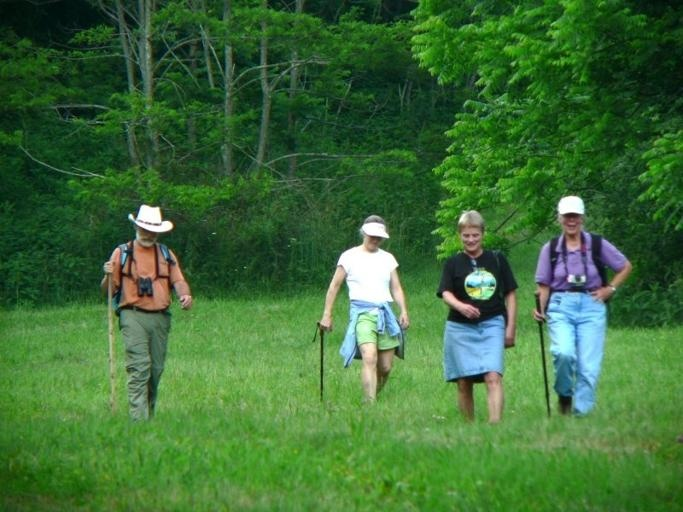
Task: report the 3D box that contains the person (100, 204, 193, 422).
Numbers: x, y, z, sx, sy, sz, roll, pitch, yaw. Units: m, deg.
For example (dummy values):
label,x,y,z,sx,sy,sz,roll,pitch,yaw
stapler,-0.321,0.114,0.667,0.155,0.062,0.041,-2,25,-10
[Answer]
label,x,y,z,sx,sy,sz,roll,pitch,yaw
person,-2.750,0.813,13.802,1.072,2.993,0.684,-10,12,-38

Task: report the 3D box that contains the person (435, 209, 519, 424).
label,x,y,z,sx,sy,sz,roll,pitch,yaw
person,1.877,0.852,13.420,1.067,2.911,0.710,-1,9,10

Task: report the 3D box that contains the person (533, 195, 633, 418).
label,x,y,z,sx,sy,sz,roll,pitch,yaw
person,3.242,0.687,13.338,1.162,3.002,0.752,-1,9,13

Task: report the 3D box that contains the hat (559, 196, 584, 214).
label,x,y,z,sx,sy,sz,roll,pitch,yaw
hat,3.157,-0.696,13.326,0.342,0.267,0.237,-1,9,9

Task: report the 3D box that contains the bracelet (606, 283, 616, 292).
label,x,y,z,sx,sy,sz,roll,pitch,yaw
bracelet,3.687,0.423,13.202,0.090,0.092,0.037,3,-29,-12

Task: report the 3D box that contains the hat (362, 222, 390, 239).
label,x,y,z,sx,sy,sz,roll,pitch,yaw
hat,0.490,-0.383,14.433,0.361,0.263,0.409,-3,9,-2

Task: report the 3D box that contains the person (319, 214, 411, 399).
label,x,y,z,sx,sy,sz,roll,pitch,yaw
person,0.397,0.859,14.448,1.227,2.854,1.004,-5,9,-12
